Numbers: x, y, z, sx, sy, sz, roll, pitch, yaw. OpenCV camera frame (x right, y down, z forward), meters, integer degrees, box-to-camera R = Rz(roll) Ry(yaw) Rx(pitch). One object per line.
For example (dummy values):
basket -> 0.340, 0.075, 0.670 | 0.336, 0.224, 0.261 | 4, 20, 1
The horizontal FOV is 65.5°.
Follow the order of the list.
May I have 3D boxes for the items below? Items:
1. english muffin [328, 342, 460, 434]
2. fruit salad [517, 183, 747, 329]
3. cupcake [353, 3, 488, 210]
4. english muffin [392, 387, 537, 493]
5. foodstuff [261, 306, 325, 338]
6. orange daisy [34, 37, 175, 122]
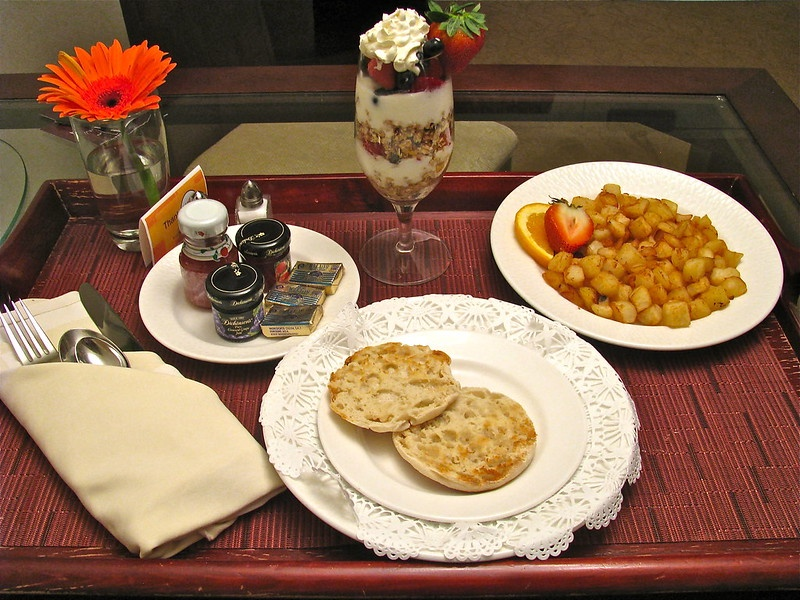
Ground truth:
english muffin -> -0.011, 0.146, 1.074 | 0.210, 0.032, 0.187 | -31, 50, -24
fruit salad -> 0.498, -0.109, 1.307 | 0.429, 0.085, 0.399 | -14, 54, -12
cupcake -> 0.031, -0.371, 1.234 | 0.208, 0.385, 0.185 | 0, 31, -1
english muffin -> 0.118, 0.224, 1.008 | 0.203, 0.032, 0.167 | -33, 60, -24
foodstuff -> -0.209, 0.038, 1.197 | 0.083, 0.024, 0.073 | 2, 42, 1
orange daisy -> -0.563, -0.419, 1.217 | 0.230, 0.129, 0.181 | -12, 54, -10
